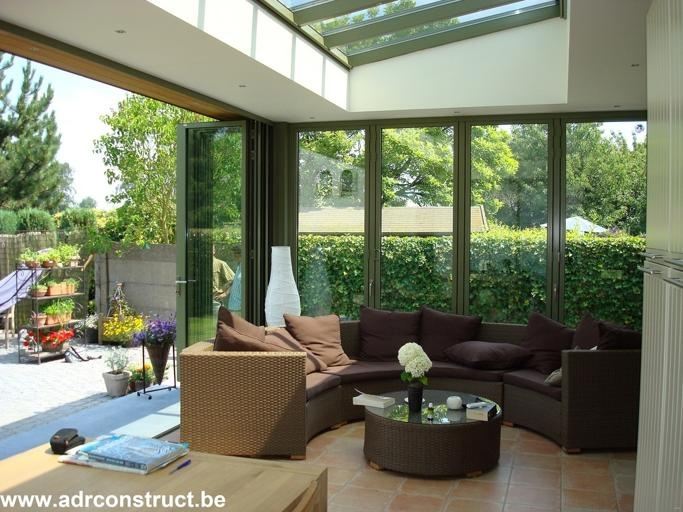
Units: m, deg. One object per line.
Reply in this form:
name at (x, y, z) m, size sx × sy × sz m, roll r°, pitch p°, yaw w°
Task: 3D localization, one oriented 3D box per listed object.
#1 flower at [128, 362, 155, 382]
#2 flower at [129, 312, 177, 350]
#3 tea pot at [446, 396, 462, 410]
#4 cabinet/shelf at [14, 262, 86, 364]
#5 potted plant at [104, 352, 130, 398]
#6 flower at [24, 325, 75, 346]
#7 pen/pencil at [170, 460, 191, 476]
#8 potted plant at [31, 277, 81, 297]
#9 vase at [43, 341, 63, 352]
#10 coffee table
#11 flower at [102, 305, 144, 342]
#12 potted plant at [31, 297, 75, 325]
flower at (-2.452, 1.427, 6.695) m, size 0.342 × 0.235 × 0.342 m, roll -1°, pitch 1°, yaw -37°
flower at (-2.295, 0.891, 6.478) m, size 0.656 × 0.364 × 0.623 m, roll -1°, pitch 3°, yaw 27°
tea pot at (0.948, 1.235, 4.558) m, size 0.108 × 0.093 × 0.105 m, roll -1°, pitch -12°, yaw 0°
cabinet/shelf at (-4.607, 0.896, 8.392) m, size 0.514 × 1.752 × 1.581 m, roll 2°, pitch 0°, yaw 11°
potted plant at (-2.758, 1.415, 6.619) m, size 0.357 × 0.517 × 0.342 m, roll 2°, pitch -5°, yaw -17°
flower at (-4.529, 1.228, 8.249) m, size 0.503 × 0.307 × 0.686 m, roll 1°, pitch 2°, yaw 38°
pen/pencil at (-0.912, 1.186, 3.027) m, size 0.023 × 0.024 × 0.130 m, roll -1°, pitch 5°, yaw 25°
potted plant at (-4.631, 0.484, 8.642) m, size 0.402 × 0.188 × 0.576 m, roll -2°, pitch -3°, yaw 44°
vase at (-4.447, 1.389, 8.268) m, size 0.216 × 0.114 × 0.226 m, roll 0°, pitch -7°, yaw 14°
coffee table at (0.749, 1.531, 4.665) m, size 1.073 × 0.403 × 1.060 m, roll 0°, pitch -4°, yaw 6°
flower at (-3.879, 1.190, 9.517) m, size 0.611 × 0.456 × 0.761 m, roll 2°, pitch 5°, yaw 6°
potted plant at (-4.513, 0.846, 8.386) m, size 0.418 × 0.215 × 0.414 m, roll 3°, pitch 0°, yaw 12°
